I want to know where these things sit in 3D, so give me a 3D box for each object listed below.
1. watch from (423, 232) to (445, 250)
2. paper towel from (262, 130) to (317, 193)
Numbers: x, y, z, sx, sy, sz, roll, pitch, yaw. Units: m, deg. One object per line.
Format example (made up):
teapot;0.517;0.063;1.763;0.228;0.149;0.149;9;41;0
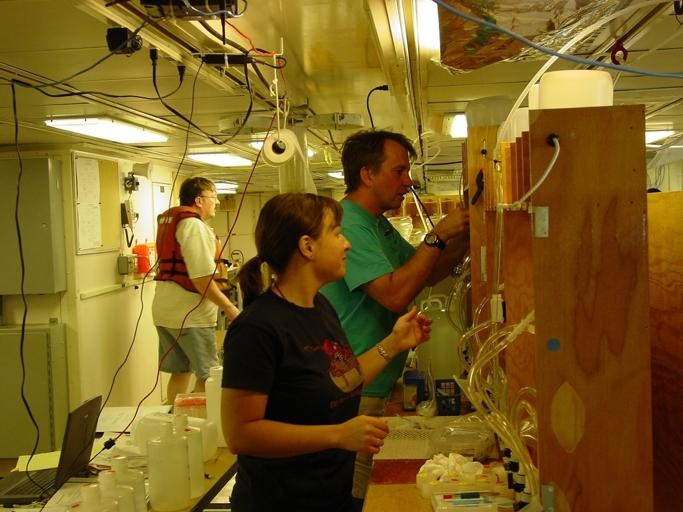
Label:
watch;0.351;-0.061;2.181;0.082;0.051;0.082;29;-5;8
paper towel;-0.325;-0.602;3.719;0.272;0.403;0.228;5;29;6
